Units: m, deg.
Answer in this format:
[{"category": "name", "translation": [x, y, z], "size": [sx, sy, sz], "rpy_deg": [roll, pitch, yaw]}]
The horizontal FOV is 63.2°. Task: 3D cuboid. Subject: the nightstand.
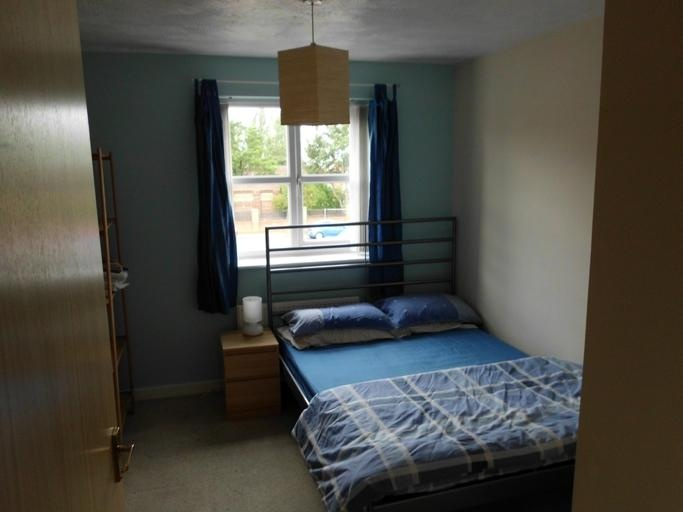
[{"category": "nightstand", "translation": [-0.615, 0.793, 3.904], "size": [0.464, 0.674, 0.453], "rpy_deg": [-1, 3, -15]}]
